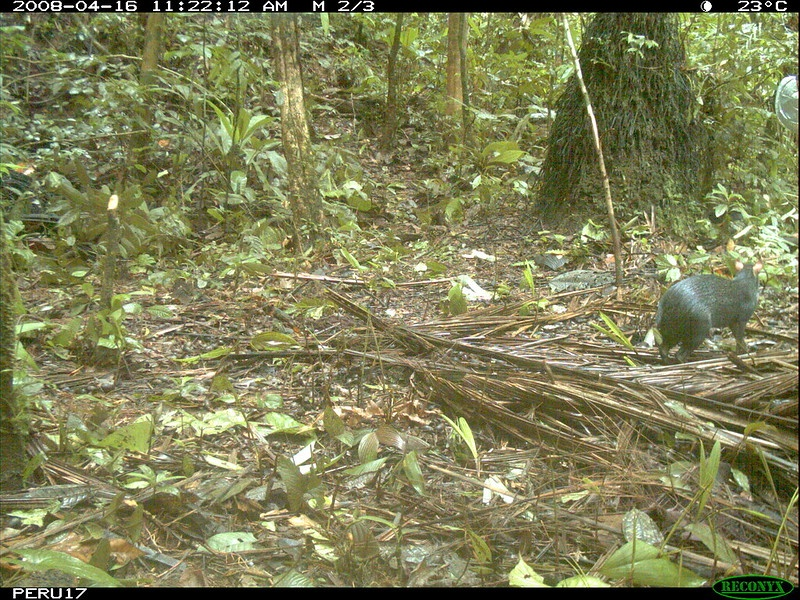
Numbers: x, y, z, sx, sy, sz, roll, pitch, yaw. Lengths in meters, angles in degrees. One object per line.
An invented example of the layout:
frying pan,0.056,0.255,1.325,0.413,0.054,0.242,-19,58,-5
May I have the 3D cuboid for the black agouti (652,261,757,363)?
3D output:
black agouti,1.704,0.062,3.741,0.800,0.458,0.375,-9,16,-17
